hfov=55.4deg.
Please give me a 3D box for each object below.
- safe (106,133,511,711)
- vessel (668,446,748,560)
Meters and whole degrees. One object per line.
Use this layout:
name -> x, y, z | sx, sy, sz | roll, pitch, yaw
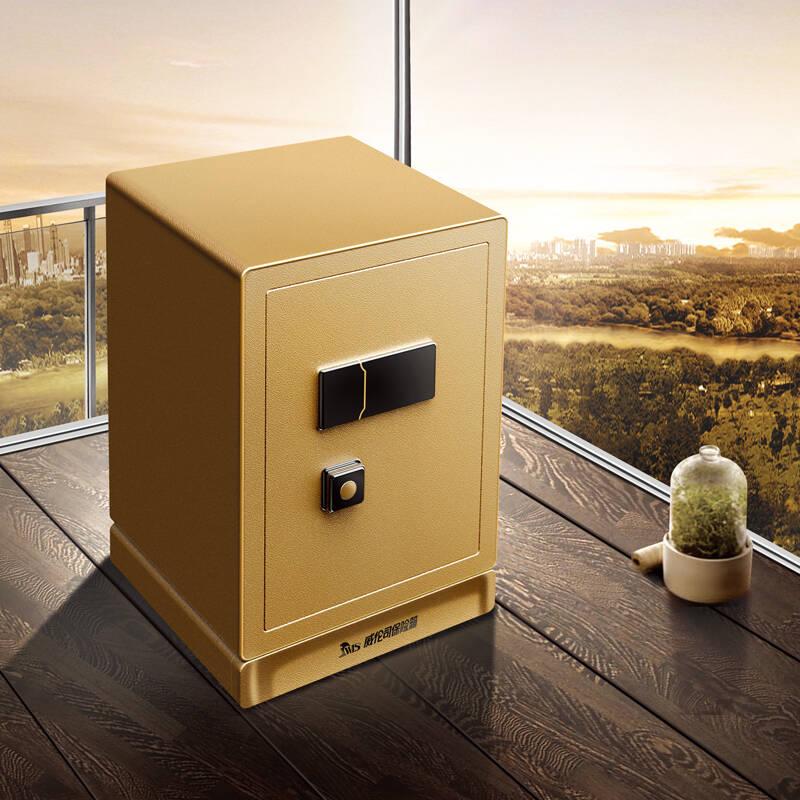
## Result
safe -> -0.187, 0.039, 1.246 | 0.538, 0.599, 0.506 | -10, 18, -34
vessel -> 0.545, 0.180, 1.359 | 0.147, 0.189, 0.138 | 1, 0, 29
